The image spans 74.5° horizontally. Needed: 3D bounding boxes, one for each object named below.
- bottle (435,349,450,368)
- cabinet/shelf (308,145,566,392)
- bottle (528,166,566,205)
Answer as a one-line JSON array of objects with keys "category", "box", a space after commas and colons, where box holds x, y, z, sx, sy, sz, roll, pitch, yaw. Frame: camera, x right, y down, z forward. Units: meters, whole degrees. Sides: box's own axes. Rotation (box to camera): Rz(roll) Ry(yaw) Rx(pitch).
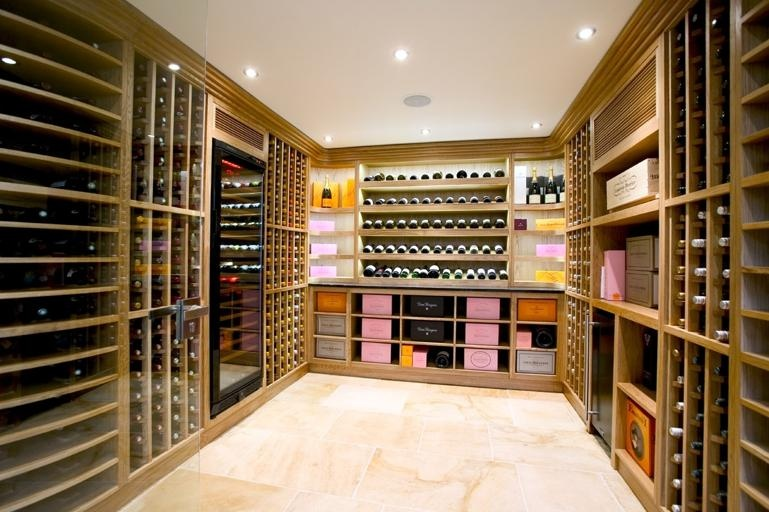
[{"category": "bottle", "box": [0.623, 1.092, 5.407, 0.187, 0.162, 0.253, -2, 4, 10]}, {"category": "cabinet/shelf", "box": [0.645, 0.183, 5.556, 2.757, 2.346, 0.797, 2, -6, 11]}, {"category": "bottle", "box": [1.725, -0.751, 5.483, 0.419, 0.375, 0.356, 4, 11, 21]}]
